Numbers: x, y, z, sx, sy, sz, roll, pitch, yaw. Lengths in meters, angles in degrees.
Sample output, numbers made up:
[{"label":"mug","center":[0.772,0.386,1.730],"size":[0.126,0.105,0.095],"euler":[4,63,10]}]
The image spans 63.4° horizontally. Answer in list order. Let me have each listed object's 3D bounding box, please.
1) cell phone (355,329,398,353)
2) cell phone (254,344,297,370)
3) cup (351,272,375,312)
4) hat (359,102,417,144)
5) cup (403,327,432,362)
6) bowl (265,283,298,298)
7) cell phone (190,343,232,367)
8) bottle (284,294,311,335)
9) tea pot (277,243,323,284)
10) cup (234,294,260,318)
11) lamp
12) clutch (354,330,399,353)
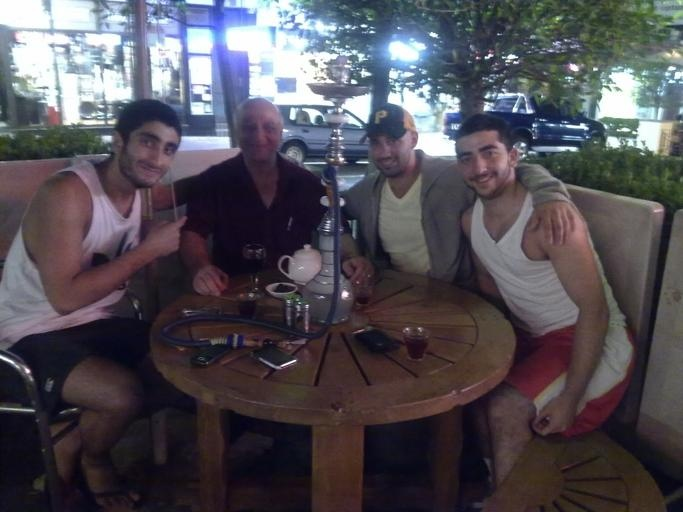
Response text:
[{"label":"cell phone","center":[0.138,0.344,2.286],"size":[0.092,0.029,0.119],"euler":[-6,14,-24]},{"label":"cell phone","center":[-0.259,0.396,2.178],"size":[0.125,0.056,0.155],"euler":[-11,17,-43]},{"label":"cup","center":[0.081,0.176,2.711],"size":[0.132,0.152,0.138],"euler":[0,3,0]},{"label":"hat","center":[0.293,-0.815,3.401],"size":[0.211,0.169,0.293],"euler":[4,15,37]},{"label":"cup","center":[0.297,0.360,2.220],"size":[0.099,0.117,0.121],"euler":[0,0,1]},{"label":"bowl","center":[-0.304,0.168,2.753],"size":[0.097,0.026,0.097],"euler":[1,15,0]},{"label":"cell phone","center":[-0.516,0.378,2.186],"size":[0.066,0.025,0.121],"euler":[4,14,13]},{"label":"bottle","center":[-0.188,0.249,2.381],"size":[0.135,0.159,0.115],"euler":[0,-1,-15]},{"label":"tea pot","center":[-0.189,0.045,2.755],"size":[0.238,0.187,0.177],"euler":[-5,19,-18]},{"label":"cup","center":[-0.431,0.230,2.542],"size":[0.088,0.096,0.087],"euler":[2,9,0]},{"label":"lamp","center":[-0.003,-0.605,2.152],"size":[0.250,0.352,0.254],"euler":[7,24,16]},{"label":"clutch","center":[0.138,0.345,2.287],"size":[0.092,0.029,0.119],"euler":[-7,14,-26]}]
